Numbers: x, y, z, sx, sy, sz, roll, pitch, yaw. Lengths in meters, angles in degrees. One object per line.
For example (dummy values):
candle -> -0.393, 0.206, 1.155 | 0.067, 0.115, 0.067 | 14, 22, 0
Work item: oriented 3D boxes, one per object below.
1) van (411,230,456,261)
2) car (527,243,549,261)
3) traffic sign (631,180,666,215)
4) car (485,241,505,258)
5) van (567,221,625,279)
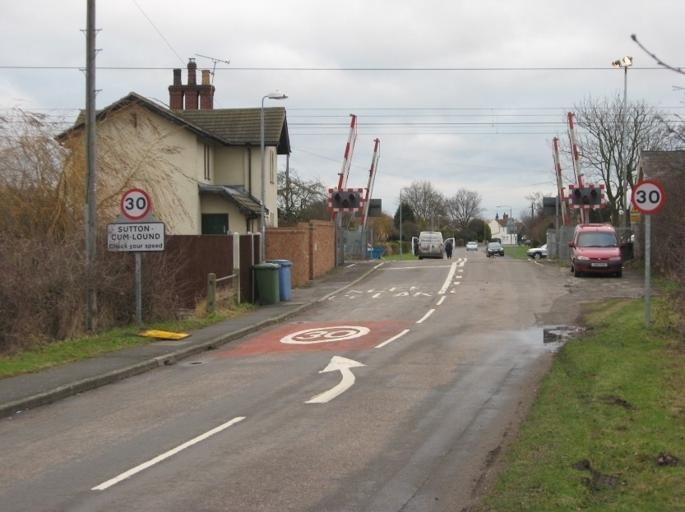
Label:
van -> 6.512, -0.783, 57.218 | 2.669, 1.945, 3.519 | 0, 3, 10
car -> 15.257, -0.334, 60.767 | 2.451, 1.276, 1.617 | 2, 0, 5
traffic sign -> 6.289, -1.212, 16.081 | 0.682, 0.884, 0.072 | 1, -31, 19
car -> 13.326, -0.670, 68.619 | 1.043, 1.038, 2.054 | -2, -6, 6
van -> 10.067, -0.126, 31.124 | 1.766, 1.986, 2.556 | -1, 8, 9
